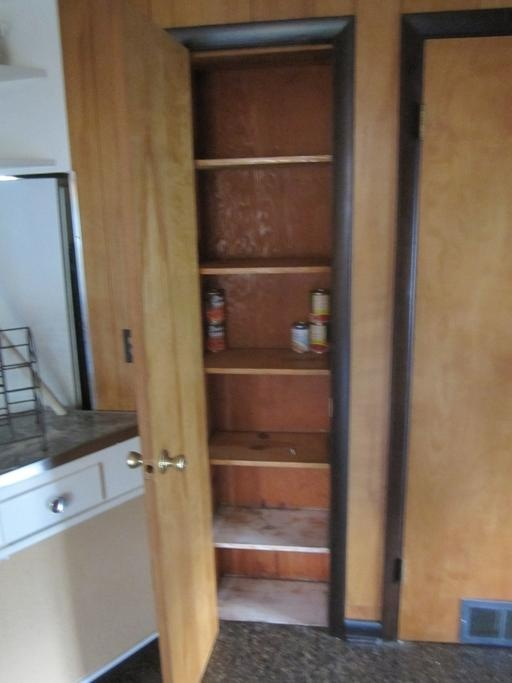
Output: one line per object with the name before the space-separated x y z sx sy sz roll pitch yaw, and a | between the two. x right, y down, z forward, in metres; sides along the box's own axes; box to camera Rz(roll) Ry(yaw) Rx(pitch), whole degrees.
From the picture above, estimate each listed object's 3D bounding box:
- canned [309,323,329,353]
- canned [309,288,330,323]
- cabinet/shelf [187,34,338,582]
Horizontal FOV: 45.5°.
canned | 0.209 -0.014 2.026 0.059 0.111 0.058 -1 9 7
canned | 0.209 -0.117 1.978 0.087 0.099 0.089 1 10 8
cabinet/shelf | 0.050 0.090 2.123 0.450 1.998 0.264 1 20 7
